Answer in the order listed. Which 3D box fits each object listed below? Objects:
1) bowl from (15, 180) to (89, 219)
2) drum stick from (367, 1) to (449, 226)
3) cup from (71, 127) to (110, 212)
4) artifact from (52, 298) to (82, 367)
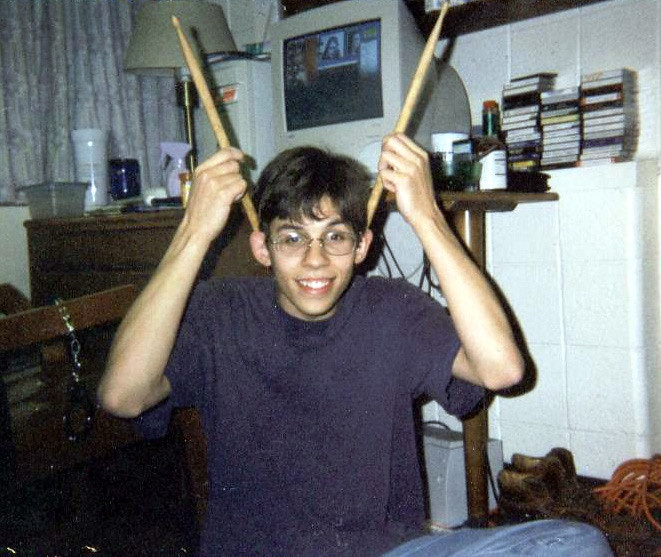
[{"bbox_3d":[-0.802,-0.230,1.931,0.201,0.106,0.104,-11,14,-31],"label":"bowl"},{"bbox_3d":[0.202,-0.442,1.771,0.051,0.781,0.058,18,10,2],"label":"drum stick"},{"bbox_3d":[-0.747,-0.322,2.065,0.111,0.265,0.108,-4,-9,-1],"label":"cup"},{"bbox_3d":[-0.720,0.163,1.822,0.044,0.213,0.100,-5,11,-16],"label":"artifact"}]
